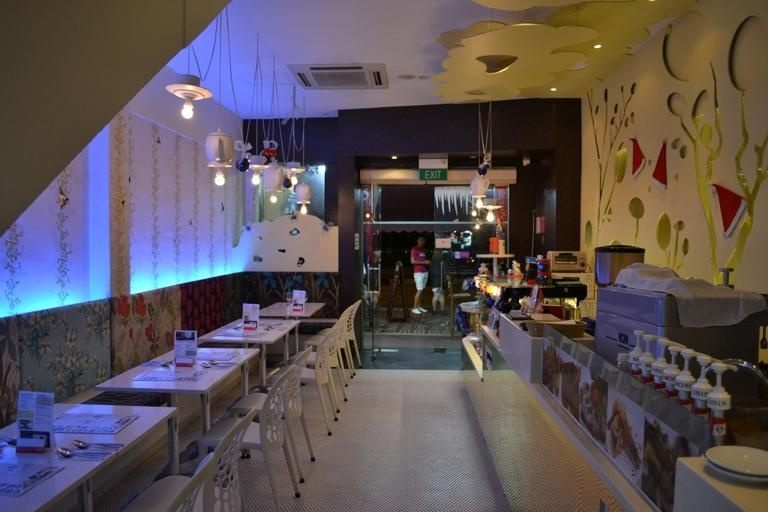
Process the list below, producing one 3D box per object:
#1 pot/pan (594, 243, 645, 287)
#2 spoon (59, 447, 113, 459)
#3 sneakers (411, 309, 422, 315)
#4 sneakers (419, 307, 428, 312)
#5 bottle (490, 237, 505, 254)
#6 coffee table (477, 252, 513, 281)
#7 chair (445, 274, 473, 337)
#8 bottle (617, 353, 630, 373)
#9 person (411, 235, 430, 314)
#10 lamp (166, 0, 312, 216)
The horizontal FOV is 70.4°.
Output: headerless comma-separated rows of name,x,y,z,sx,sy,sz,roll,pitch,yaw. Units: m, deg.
pot/pan,1.805,0.076,4.214,0.351,0.363,0.383,5,9,33
spoon,-1.647,1.102,3.017,0.191,0.036,0.113,0,1,-5
sneakers,0.522,0.903,8.781,0.183,0.089,0.065,2,7,13
sneakers,0.638,0.871,8.794,0.138,0.063,0.050,2,8,22
bottle,1.386,-0.125,6.674,0.122,0.255,0.251,0,3,14
coffee table,1.625,0.094,7.685,0.427,0.451,0.438,-3,7,-25
chair,1.148,0.762,8.498,0.386,0.948,0.297,2,7,18
bottle,1.188,0.527,2.705,0.079,0.083,0.081,-3,3,-29
person,0.564,0.312,8.814,0.290,1.239,0.174,1,7,8
lamp,-1.514,-1.535,5.717,0.430,1.552,1.468,0,-5,11
